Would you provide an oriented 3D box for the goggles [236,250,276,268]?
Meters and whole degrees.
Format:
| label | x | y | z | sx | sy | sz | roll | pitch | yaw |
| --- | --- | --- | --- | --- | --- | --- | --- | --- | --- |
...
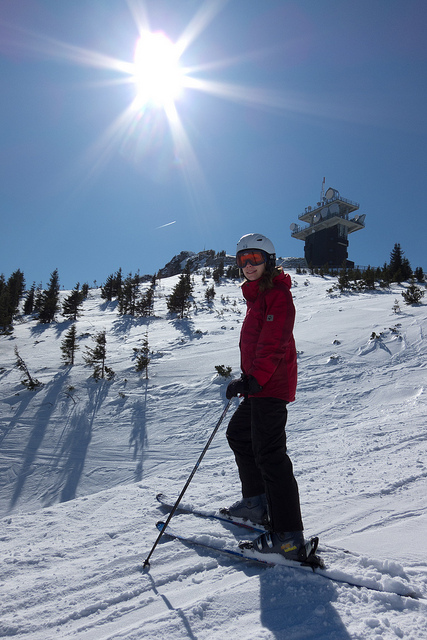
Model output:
| label | x | y | z | sx | sy | sz | roll | pitch | yaw |
| --- | --- | --- | --- | --- | --- | --- | --- | --- | --- |
| goggles | 0.316 | -0.512 | 4.660 | 0.374 | 0.132 | 0.165 | -3 | 6 | 34 |
